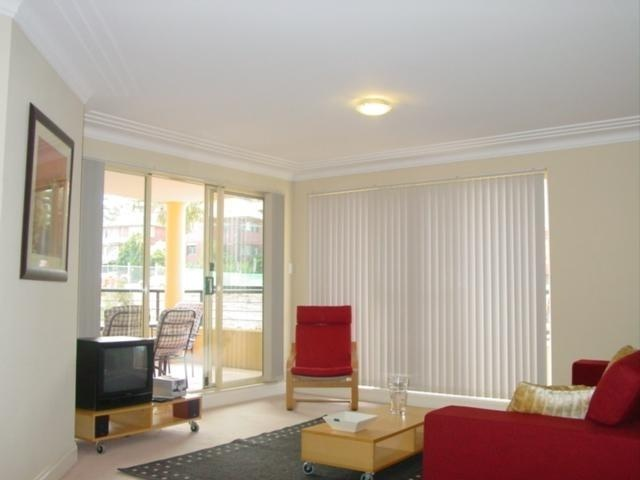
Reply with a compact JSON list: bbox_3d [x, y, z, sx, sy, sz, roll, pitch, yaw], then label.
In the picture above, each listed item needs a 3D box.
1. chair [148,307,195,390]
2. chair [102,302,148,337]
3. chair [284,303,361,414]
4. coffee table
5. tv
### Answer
[{"bbox_3d":[-1.997,1.353,6.031,0.714,0.979,0.660,-3,-7,45],"label":"chair"},{"bbox_3d":[-2.165,0.888,5.172,0.439,0.424,0.451,6,-11,-41],"label":"chair"},{"bbox_3d":[0.043,1.361,5.547,0.942,1.061,0.996,0,-3,-11],"label":"chair"},{"bbox_3d":[0.399,1.491,3.627,0.573,0.345,0.957,-8,-12,42],"label":"coffee table"},{"bbox_3d":[-1.928,1.269,4.457,0.463,0.559,0.636,-10,-13,33],"label":"tv"}]
